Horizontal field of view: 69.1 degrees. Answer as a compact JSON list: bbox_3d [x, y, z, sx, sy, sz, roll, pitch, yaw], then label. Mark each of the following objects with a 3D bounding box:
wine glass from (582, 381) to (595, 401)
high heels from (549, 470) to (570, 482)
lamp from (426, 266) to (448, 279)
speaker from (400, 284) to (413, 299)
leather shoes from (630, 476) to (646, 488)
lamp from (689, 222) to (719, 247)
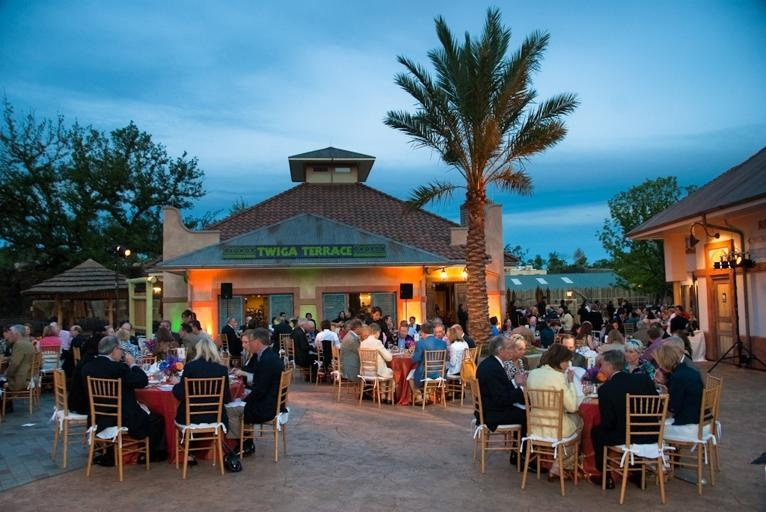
[{"bbox_3d":[3.733,2.452,10.094,0.211,0.244,0.217,-2,-3,19],"label":"wine glass"},{"bbox_3d":[2.958,3.667,9.266,0.412,0.181,0.178,-1,2,-7],"label":"high heels"},{"bbox_3d":[2.454,0.833,25.644,0.888,0.643,1.551,0,1,7],"label":"lamp"},{"bbox_3d":[0.989,1.517,23.582,0.555,0.575,0.589,0,4,1],"label":"speaker"},{"bbox_3d":[4.144,3.682,9.084,0.140,0.147,0.327,-1,1,-7],"label":"leather shoes"},{"bbox_3d":[11.984,-0.815,20.919,1.298,0.823,0.591,-8,6,-7],"label":"lamp"}]
